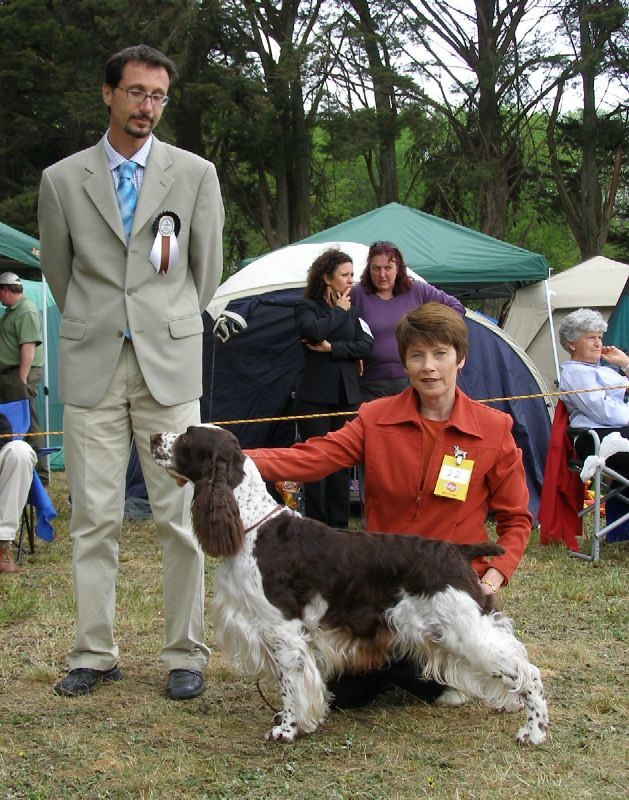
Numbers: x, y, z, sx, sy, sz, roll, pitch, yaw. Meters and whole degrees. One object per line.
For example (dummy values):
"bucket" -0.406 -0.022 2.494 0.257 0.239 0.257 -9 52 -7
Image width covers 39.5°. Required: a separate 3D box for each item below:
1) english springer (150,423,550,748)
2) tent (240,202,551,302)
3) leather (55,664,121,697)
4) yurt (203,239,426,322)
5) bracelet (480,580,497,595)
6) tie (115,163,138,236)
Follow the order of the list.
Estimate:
"english springer" 0.096 0.629 2.991 1.309 1.068 0.285 0 1 -1
"tent" 1.083 -1.688 10.199 3.726 1.067 2.437 -4 13 -17
"leather" -0.889 1.095 3.463 0.088 0.086 0.243 -3 -5 39
"yurt" 0.031 -0.916 6.872 1.441 0.361 1.271 -1 3 -1
"bracelet" 0.614 0.658 3.108 0.054 0.060 0.068 -4 -3 6
"tie" -0.713 -0.759 3.343 0.078 0.292 0.036 0 1 -10
